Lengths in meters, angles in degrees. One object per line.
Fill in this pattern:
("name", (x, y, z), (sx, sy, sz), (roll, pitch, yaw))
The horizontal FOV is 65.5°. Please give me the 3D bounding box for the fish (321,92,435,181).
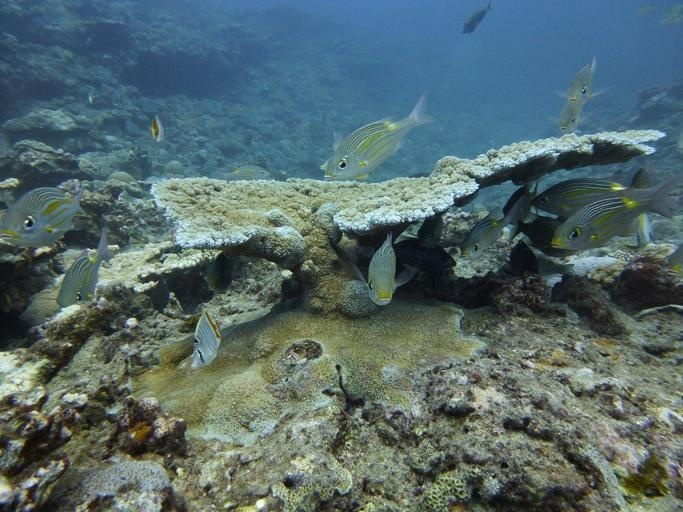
("fish", (0.614, -1.875, 8.708), (2.295, 0.953, 0.465), (-33, 54, -18))
